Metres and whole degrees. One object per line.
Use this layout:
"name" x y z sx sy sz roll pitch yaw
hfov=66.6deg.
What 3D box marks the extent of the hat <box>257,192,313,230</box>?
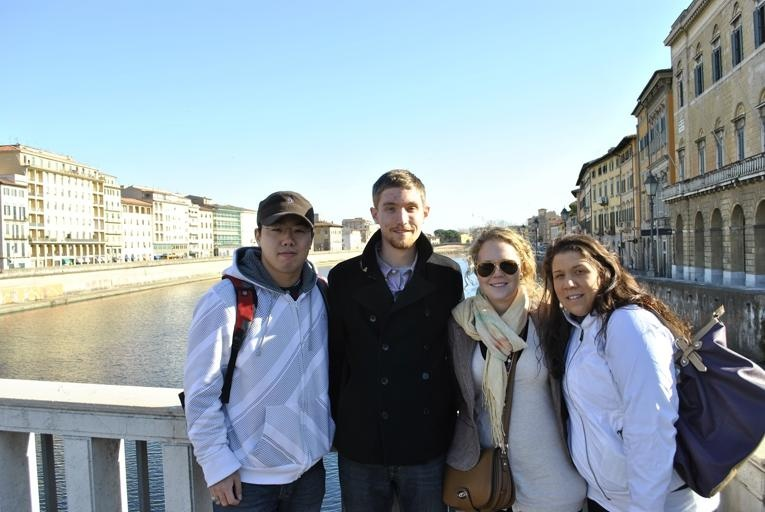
"hat" -0.722 -0.339 4.405 0.414 0.307 0.570 0 -9 -14
